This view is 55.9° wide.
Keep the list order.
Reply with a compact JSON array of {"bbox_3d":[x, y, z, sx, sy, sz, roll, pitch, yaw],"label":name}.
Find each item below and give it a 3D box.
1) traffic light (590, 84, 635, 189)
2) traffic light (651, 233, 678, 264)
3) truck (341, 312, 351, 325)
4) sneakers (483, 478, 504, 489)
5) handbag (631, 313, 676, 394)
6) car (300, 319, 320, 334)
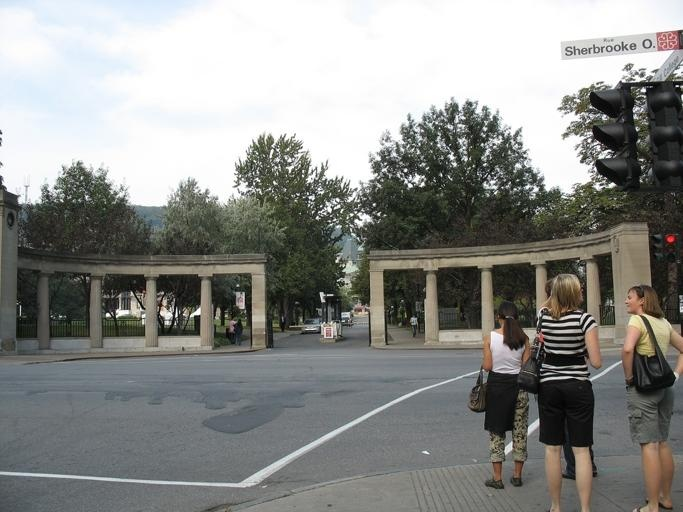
[{"bbox_3d":[3.437,-1.474,8.037,0.523,1.402,0.635,-2,-3,23],"label":"traffic light"},{"bbox_3d":[8.509,-0.217,16.814,0.518,0.753,1.535,-3,-4,31],"label":"traffic light"},{"bbox_3d":[0.818,9.986,102.665,1.616,1.724,3.045,-2,-17,2],"label":"truck"},{"bbox_3d":[1.914,2.804,7.976,0.091,0.088,0.200,6,-6,-38],"label":"sneakers"},{"bbox_3d":[3.602,1.125,7.401,0.471,0.865,0.311,-2,-2,17],"label":"handbag"},{"bbox_3d":[-2.862,6.846,62.668,1.744,1.219,1.650,-1,-3,-10],"label":"car"}]
